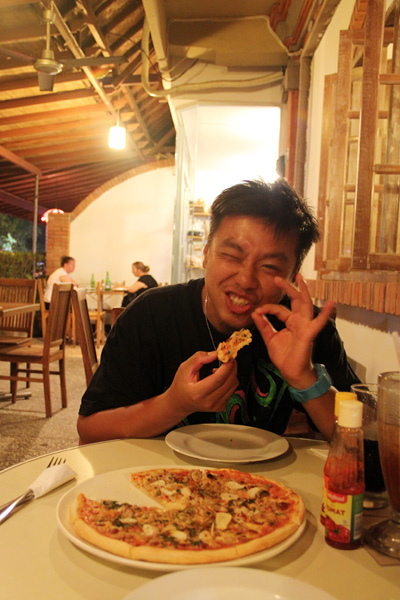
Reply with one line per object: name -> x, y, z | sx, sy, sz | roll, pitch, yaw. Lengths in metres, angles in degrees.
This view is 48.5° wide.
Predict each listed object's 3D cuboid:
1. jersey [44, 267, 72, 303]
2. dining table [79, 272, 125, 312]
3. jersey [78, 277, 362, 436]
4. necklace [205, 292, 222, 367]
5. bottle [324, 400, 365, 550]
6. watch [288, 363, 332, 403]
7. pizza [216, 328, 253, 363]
jersey -> -2.591, -0.268, 7.960 | 0.314, 0.668, 0.678 | 9, 0, -18
dining table -> -2.159, -0.118, 9.782 | 1.049, 0.556, 1.544 | 1, 9, -13
jersey -> 0.067, 0.181, 1.467 | 0.845, 0.521, 0.441 | 9, 0, -15
necklace -> 0.046, 0.113, 1.475 | 0.011, 0.218, 0.056 | -3, -12, -42
bottle -> 0.215, 0.257, 0.651 | 0.058, 0.220, 0.059 | 0, 9, 0
watch -> 0.267, 0.213, 1.126 | 0.085, 0.043, 0.098 | -37, 5, -40
pizza -> 0.090, 0.122, 1.176 | 0.096, 0.026, 0.058 | -36, 47, -28
